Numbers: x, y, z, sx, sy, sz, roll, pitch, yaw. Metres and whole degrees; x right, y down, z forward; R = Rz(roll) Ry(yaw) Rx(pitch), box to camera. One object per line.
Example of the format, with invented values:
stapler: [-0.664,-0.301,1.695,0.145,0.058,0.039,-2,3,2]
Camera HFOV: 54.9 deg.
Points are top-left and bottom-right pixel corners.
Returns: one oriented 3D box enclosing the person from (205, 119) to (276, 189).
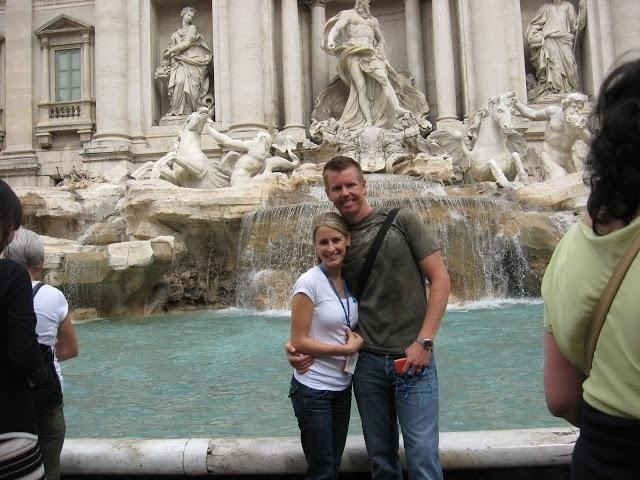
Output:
person: [-1.773,-1.831,14.051,1.044,1.442,1.246,-3,0,20]

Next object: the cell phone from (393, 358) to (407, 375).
cell phone: [0.359,0.572,2.783,0.080,0.081,0.011,1,8,6]

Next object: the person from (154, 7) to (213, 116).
person: [-3.998,-5.321,18.513,1.546,3.283,0.745,-3,0,-10]
